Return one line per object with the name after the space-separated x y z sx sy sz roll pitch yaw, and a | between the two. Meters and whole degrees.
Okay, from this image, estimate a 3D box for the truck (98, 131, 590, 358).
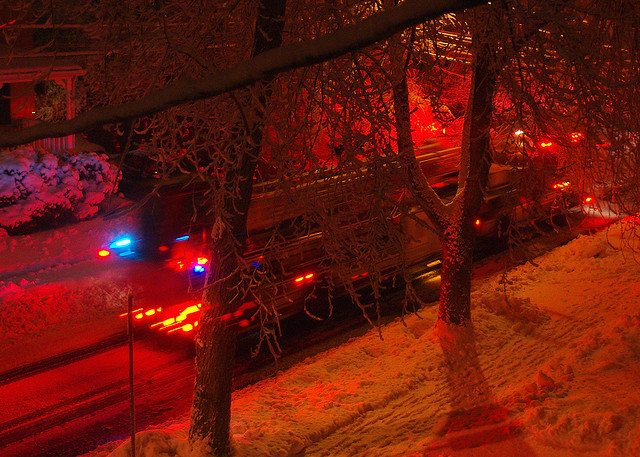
0.694 0.593 11.037 9.936 2.606 2.441 -18 -59 -30 | truck
